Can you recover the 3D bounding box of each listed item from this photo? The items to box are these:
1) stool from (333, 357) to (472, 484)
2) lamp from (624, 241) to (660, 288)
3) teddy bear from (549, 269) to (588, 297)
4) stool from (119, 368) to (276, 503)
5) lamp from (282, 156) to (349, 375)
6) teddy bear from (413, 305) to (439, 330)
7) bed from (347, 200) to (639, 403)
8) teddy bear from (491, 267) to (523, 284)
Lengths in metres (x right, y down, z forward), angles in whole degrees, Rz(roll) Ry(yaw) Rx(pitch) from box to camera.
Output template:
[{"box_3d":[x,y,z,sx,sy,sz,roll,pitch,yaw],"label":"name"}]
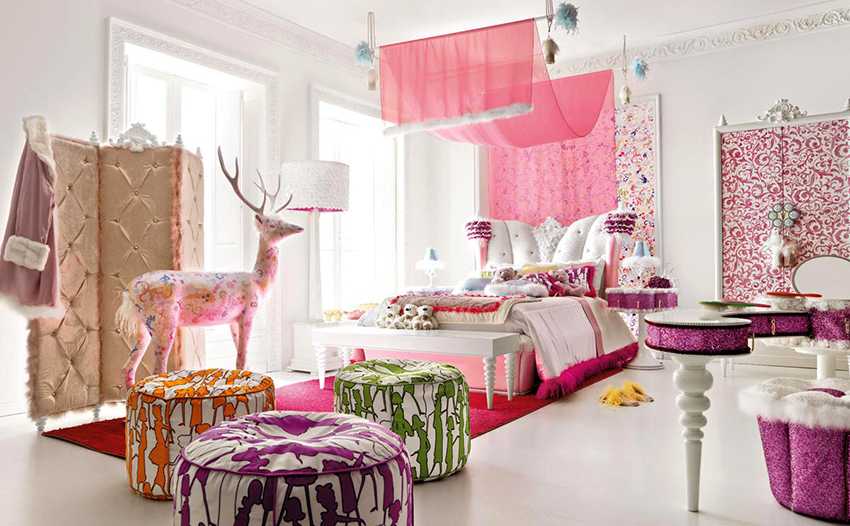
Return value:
[{"box_3d":[-0.058,1.116,4.879,0.854,0.604,0.850,0,-2,15],"label":"stool"},{"box_3d":[2.621,0.013,7.860,0.558,0.582,0.558,-3,3,-32],"label":"lamp"},{"box_3d":[1.672,0.302,7.459,0.335,0.124,0.332,17,9,-2],"label":"teddy bear"},{"box_3d":[-1.587,1.156,4.556,0.881,0.630,0.884,4,-3,-44],"label":"stool"},{"box_3d":[-1.281,0.041,7.291,0.710,2.374,1.287,0,-4,-16],"label":"lamp"},{"box_3d":[-0.003,0.549,6.270,0.269,0.290,0.217,3,-45,0],"label":"teddy bear"},{"box_3d":[0.968,0.398,7.326,2.150,1.813,2.703,-5,-10,37],"label":"bed"},{"box_3d":[0.941,0.149,7.290,0.250,0.109,0.190,-2,-9,-40],"label":"teddy bear"}]
